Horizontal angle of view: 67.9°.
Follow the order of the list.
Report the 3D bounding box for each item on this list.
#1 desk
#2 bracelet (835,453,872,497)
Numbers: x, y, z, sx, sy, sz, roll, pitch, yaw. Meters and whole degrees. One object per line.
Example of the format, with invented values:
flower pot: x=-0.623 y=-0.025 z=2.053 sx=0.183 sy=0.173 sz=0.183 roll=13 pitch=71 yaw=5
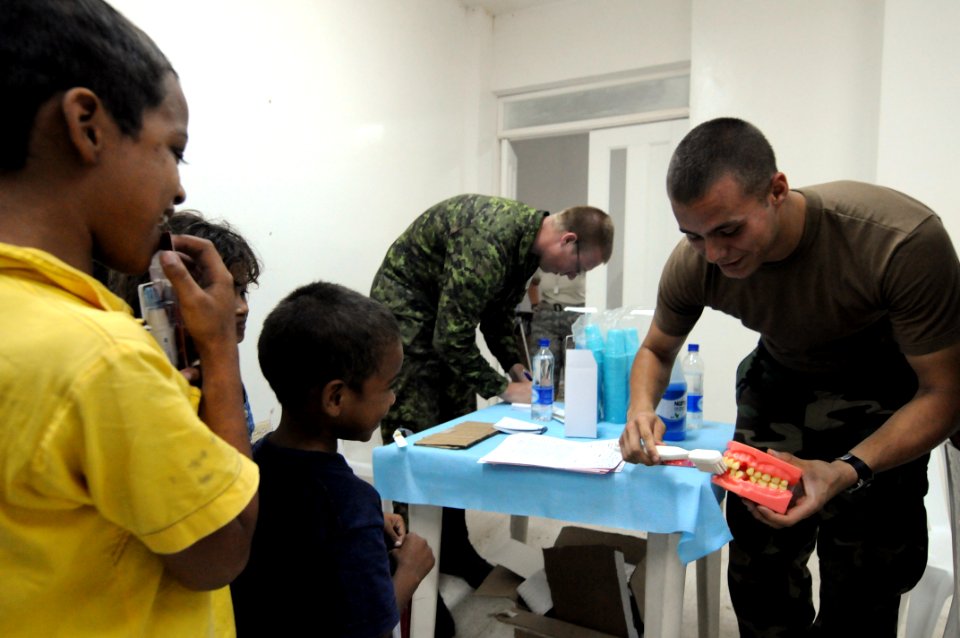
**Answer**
desk: x=0.240 y=0.539 z=2.146 sx=0.791 sy=0.585 sz=0.801 roll=1 pitch=0 yaw=17
bracelet: x=0.990 y=0.401 z=1.881 sx=0.080 sy=0.090 sz=0.051 roll=1 pitch=7 yaw=26
